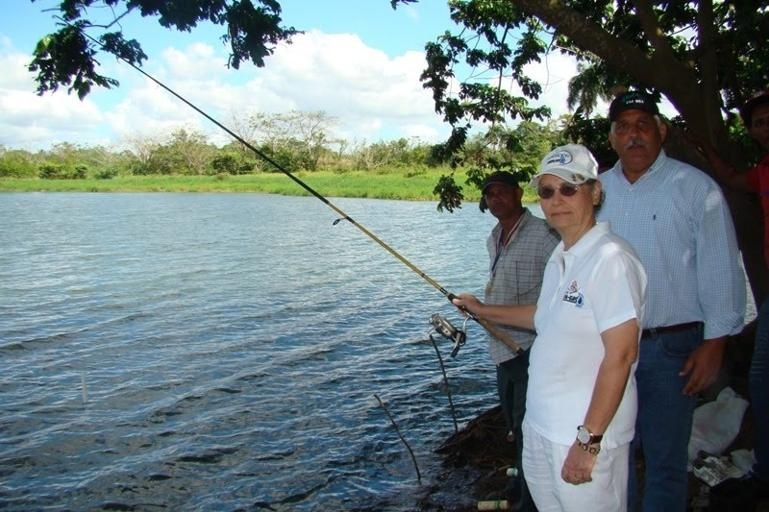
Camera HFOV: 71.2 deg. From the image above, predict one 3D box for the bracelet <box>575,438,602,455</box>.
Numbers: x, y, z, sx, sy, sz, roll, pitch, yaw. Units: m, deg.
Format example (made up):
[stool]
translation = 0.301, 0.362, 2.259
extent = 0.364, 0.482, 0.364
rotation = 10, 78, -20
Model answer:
[bracelet]
translation = 0.986, 0.922, 2.596
extent = 0.104, 0.059, 0.099
rotation = 20, 4, 36

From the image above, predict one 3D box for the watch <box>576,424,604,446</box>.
[watch]
translation = 0.983, 0.874, 2.637
extent = 0.106, 0.102, 0.098
rotation = -7, 40, -17

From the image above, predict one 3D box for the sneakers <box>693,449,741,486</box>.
[sneakers]
translation = 2.324, 1.497, 3.778
extent = 0.169, 0.082, 0.243
rotation = -17, -3, -10

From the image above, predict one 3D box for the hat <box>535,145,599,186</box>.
[hat]
translation = 0.986, -0.499, 2.925
extent = 0.436, 0.189, 0.308
rotation = -11, 20, -43
